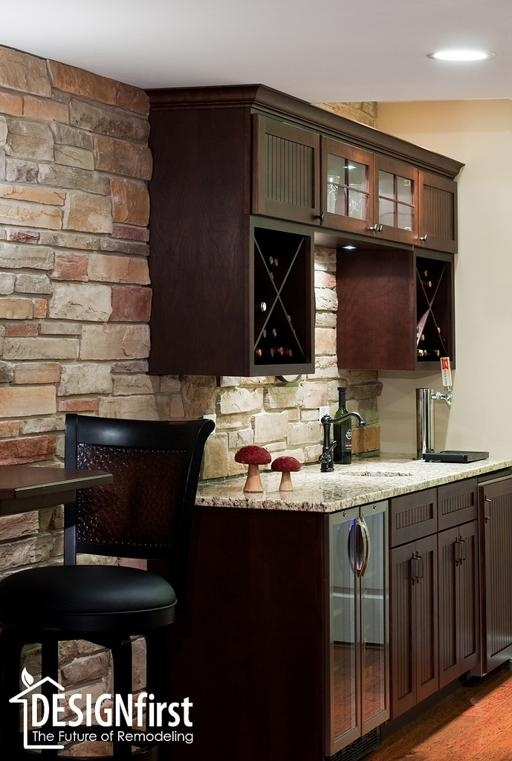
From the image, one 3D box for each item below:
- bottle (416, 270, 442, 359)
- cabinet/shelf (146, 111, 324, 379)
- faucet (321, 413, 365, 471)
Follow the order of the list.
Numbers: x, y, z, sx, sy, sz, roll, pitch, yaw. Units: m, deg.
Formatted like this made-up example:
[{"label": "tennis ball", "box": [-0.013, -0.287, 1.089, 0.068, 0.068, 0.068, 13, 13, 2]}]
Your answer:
[{"label": "bottle", "box": [1.036, -0.375, 3.670, 0.153, 0.505, 0.501, -2, -3, 22]}, {"label": "cabinet/shelf", "box": [-0.063, -0.531, 2.405, 0.645, 0.680, 0.353, -1, 1, -34]}, {"label": "faucet", "box": [0.416, 0.301, 2.987, 0.210, 0.286, 0.176, 0, -11, 8]}]
